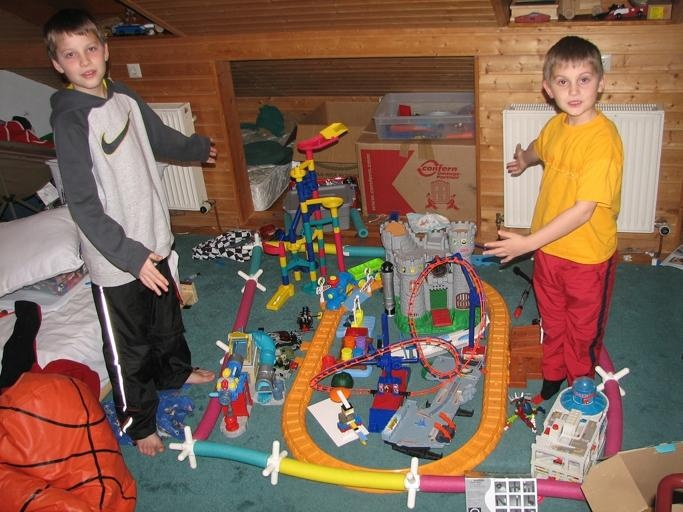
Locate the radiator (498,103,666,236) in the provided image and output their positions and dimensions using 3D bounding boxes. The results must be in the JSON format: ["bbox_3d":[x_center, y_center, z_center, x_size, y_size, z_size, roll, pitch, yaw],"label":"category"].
[{"bbox_3d":[1.677,-0.671,4.216,1.220,0.963,0.439,2,8,21],"label":"radiator"}]

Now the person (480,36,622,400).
[{"bbox_3d":[1.144,-0.121,2.844,0.527,2.027,0.714,2,8,25],"label":"person"}]

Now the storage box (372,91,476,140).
[{"bbox_3d":[0.764,-1.182,4.834,0.784,0.210,0.500,0,38,10],"label":"storage box"}]

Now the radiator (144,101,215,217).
[{"bbox_3d":[-1.425,-0.890,4.940,0.924,0.922,0.253,1,32,-1],"label":"radiator"}]

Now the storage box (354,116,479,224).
[{"bbox_3d":[0.480,-0.600,5.275,1.415,0.687,1.306,0,-3,-12],"label":"storage box"}]

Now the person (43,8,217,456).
[{"bbox_3d":[-1.123,-0.036,2.980,0.613,2.399,0.737,-3,8,-10],"label":"person"}]
